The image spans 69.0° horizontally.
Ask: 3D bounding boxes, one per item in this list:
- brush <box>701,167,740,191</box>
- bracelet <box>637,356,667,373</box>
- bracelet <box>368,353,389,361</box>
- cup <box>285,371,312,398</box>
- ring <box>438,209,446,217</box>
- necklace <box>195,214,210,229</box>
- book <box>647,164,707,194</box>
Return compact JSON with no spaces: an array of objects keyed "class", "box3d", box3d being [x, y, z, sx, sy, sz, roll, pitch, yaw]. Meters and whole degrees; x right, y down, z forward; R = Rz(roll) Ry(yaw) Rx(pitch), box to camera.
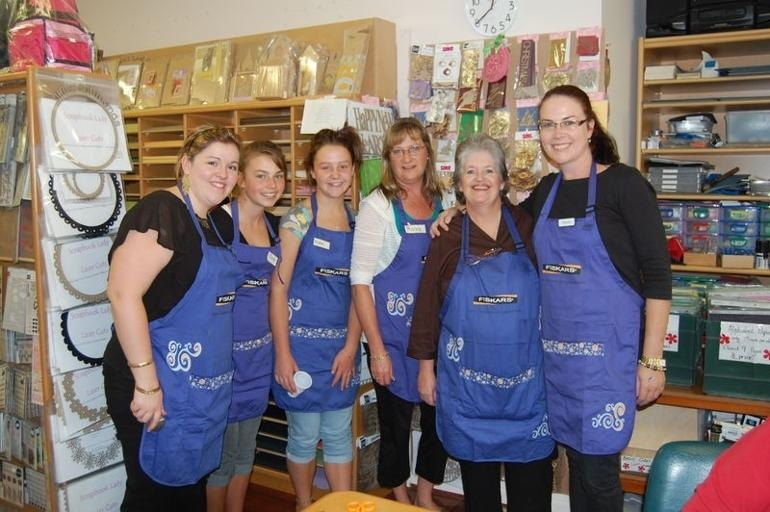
[{"class":"brush","box3d":[2.576,-0.594,4.307,0.285,0.074,0.095,-29,-20,1]},{"class":"bracelet","box3d":[1.233,0.496,2.581,0.121,0.071,0.051,-2,7,0]},{"class":"bracelet","box3d":[-0.031,0.567,3.179,0.104,0.048,0.042,-2,7,-1]},{"class":"cup","box3d":[-0.482,0.717,3.249,0.127,0.120,0.123,-32,-22,-14]},{"class":"ring","box3d":[0.313,-0.251,3.151,0.052,0.020,0.046,-31,7,-5]},{"class":"necklace","box3d":[-0.868,-0.165,2.650,0.069,0.030,0.051,28,6,35]},{"class":"book","box3d":[2.221,-0.586,4.226,0.411,0.189,0.423,2,2,22]}]
